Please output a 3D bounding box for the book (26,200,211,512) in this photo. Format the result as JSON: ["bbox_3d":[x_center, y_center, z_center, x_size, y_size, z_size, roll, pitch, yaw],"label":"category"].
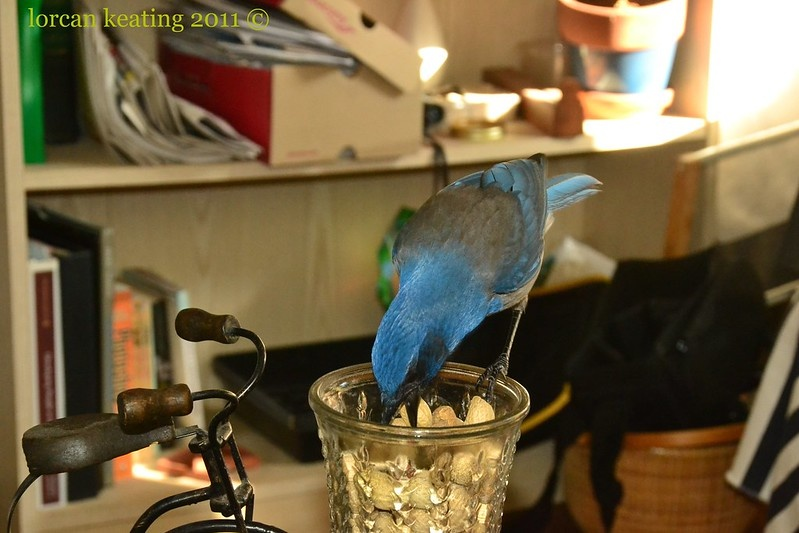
[{"bbox_3d":[-0.669,0.133,2.168,0.515,0.817,0.532,-9,13,-31],"label":"book"}]

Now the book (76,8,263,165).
[{"bbox_3d":[-0.509,-0.317,1.826,0.276,0.158,0.377,6,-6,0],"label":"book"}]
